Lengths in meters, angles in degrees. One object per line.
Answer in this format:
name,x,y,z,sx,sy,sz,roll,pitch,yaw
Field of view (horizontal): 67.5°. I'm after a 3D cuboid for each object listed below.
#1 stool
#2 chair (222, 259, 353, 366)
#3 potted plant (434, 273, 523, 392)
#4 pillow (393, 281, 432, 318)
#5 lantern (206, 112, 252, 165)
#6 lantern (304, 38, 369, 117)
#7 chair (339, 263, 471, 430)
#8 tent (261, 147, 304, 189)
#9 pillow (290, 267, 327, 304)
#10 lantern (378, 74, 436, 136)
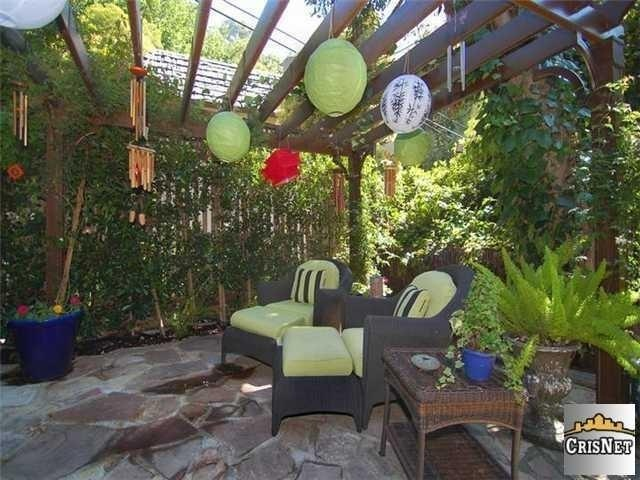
stool,-0.054,1.165,4.259,0.628,0.519,0.914,0,2,-3
chair,-0.344,0.770,5.383,1.145,1.252,1.220,7,0,-42
potted plant,1.182,0.707,3.650,0.500,1.035,0.536,7,3,-12
pillow,0.846,0.458,4.436,0.206,0.378,0.493,12,3,-6
lantern,-1.035,-1.185,5.593,0.472,0.654,0.526,-2,12,8
lantern,0.129,-1.432,4.051,0.504,0.619,0.309,0,0,-2
chair,0.779,0.918,4.568,0.958,1.410,1.122,5,2,-14
tent,-0.464,-0.925,5.970,0.396,0.498,0.458,13,0,-6
pillow,-0.140,0.535,5.651,0.116,0.393,0.379,14,-3,-41
lantern,0.784,-1.281,4.358,0.433,0.539,0.210,0,0,9
